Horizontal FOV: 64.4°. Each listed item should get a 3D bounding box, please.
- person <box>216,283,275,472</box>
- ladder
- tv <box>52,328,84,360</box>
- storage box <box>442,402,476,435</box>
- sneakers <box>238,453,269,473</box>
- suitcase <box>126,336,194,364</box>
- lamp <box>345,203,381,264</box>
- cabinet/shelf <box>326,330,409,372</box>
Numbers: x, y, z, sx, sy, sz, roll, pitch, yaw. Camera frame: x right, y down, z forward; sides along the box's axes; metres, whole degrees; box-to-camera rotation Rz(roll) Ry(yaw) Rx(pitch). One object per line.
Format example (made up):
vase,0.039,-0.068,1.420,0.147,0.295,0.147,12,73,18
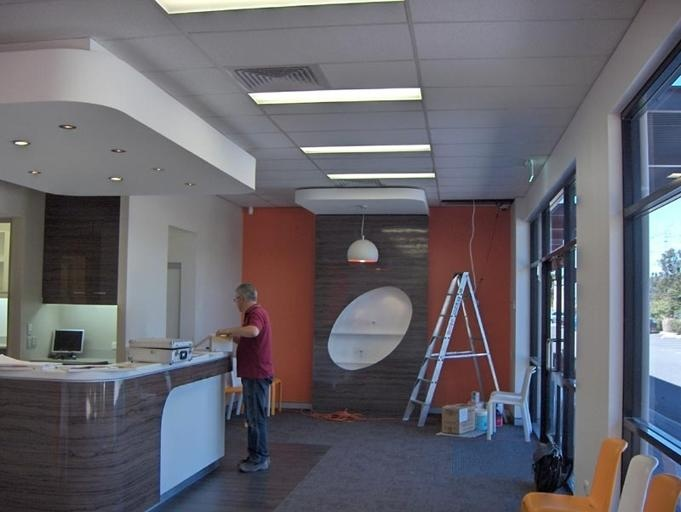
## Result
person,-0.970,1.266,5.727,0.474,1.968,0.632,-1,-6,1
ladder,1.742,1.347,8.408,1.541,2.254,0.857,0,-6,-15
tv,-3.446,1.108,6.803,0.330,0.346,0.129,-1,-17,-1
storage box,1.617,2.094,7.431,0.309,0.397,0.574,0,-2,36
sneakers,-0.945,2.194,5.741,0.352,0.180,0.129,7,-2,-23
suitcase,-1.686,0.869,5.016,0.326,0.143,0.314,1,-4,13
lamp,0.329,-0.374,8.091,0.478,0.885,0.483,-1,-3,34
cabinet/shelf,0.325,1.567,8.903,0.992,0.635,0.217,-1,-17,9
